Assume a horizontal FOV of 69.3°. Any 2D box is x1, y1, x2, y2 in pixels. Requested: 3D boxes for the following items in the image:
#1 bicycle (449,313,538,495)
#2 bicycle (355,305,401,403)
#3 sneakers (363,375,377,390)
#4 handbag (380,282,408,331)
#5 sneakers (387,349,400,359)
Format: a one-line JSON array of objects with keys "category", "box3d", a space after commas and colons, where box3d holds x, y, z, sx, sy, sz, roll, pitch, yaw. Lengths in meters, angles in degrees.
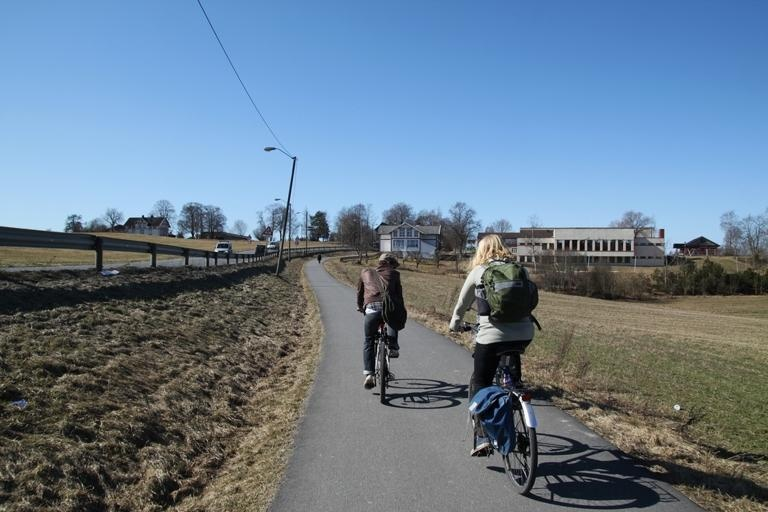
[{"category": "bicycle", "box3d": [1.711, 2.100, 7.869, 0.614, 2.177, 1.347, -9, 14, -37]}, {"category": "bicycle", "box3d": [-0.119, 1.685, 10.364, 0.716, 1.002, 1.620, 0, 1, -4]}, {"category": "sneakers", "box3d": [-0.297, 2.379, 10.534, 0.256, 0.265, 0.181, -9, 13, -33]}, {"category": "handbag", "box3d": [0.181, 0.951, 10.157, 0.573, 0.746, 0.297, 2, 0, -28]}, {"category": "sneakers", "box3d": [0.172, 1.797, 10.179, 0.177, 0.183, 0.197, 4, 12, 23]}]
